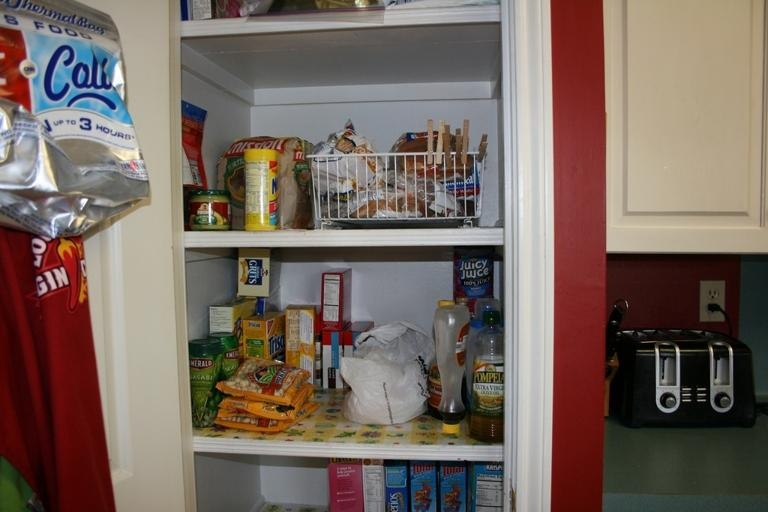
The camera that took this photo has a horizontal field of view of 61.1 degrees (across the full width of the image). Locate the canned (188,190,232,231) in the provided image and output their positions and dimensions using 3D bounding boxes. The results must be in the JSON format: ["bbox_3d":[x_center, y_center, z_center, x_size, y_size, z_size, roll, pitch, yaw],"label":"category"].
[{"bbox_3d":[-0.510,-0.132,1.914,0.109,0.110,0.113,0,-3,-1],"label":"canned"}]

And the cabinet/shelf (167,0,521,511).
[{"bbox_3d":[-0.080,0.088,2.060,0.982,1.584,0.498,-4,0,6],"label":"cabinet/shelf"}]

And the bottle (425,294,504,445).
[{"bbox_3d":[0.252,0.334,1.906,0.220,0.416,0.261,-4,0,-5],"label":"bottle"}]

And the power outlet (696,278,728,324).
[{"bbox_3d":[1.147,0.159,2.270,0.097,0.157,0.015,-4,0,-6],"label":"power outlet"}]

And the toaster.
[{"bbox_3d":[1.005,0.370,2.197,0.392,0.251,0.417,-1,13,17],"label":"toaster"}]
